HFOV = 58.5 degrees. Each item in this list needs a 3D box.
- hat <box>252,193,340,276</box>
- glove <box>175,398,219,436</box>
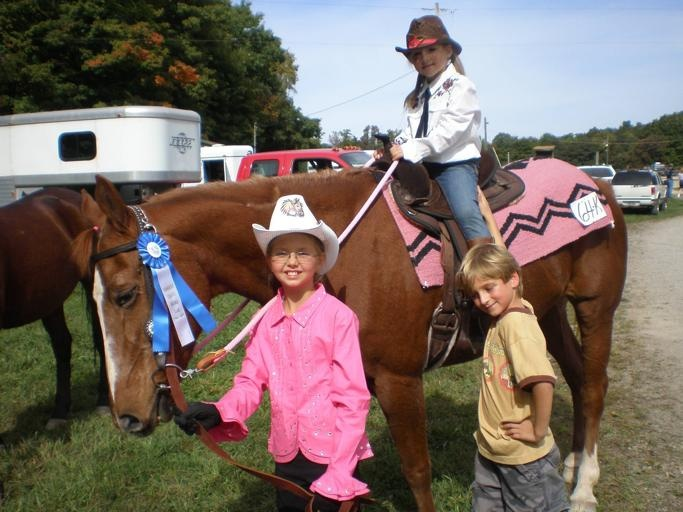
[{"bbox_3d":[-0.268,-0.203,3.718,0.363,0.218,0.539,1,-34,3],"label":"hat"},{"bbox_3d":[-0.858,0.951,3.625,0.212,0.088,0.174,-6,-3,23],"label":"glove"}]
